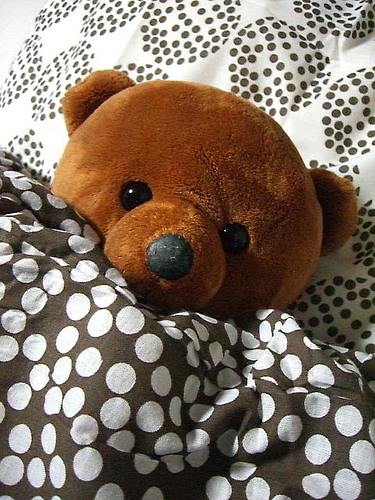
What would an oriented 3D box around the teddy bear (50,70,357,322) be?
[{"bbox_3d":[-0.003,-0.073,0.571,0.249,0.187,0.328,-34,64,-9],"label":"teddy bear"}]
